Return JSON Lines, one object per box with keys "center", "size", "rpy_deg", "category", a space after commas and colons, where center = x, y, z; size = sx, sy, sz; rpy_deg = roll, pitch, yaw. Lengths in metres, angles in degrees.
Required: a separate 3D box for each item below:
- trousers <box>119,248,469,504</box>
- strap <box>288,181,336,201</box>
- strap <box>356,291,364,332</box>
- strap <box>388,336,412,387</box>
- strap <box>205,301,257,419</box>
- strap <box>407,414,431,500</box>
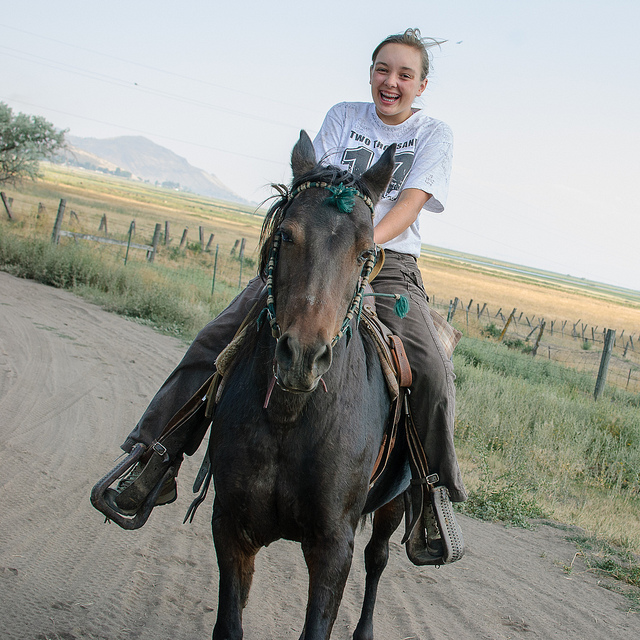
{"center": [0.123, 0.257, 3.488], "size": [1.743, 1.209, 2.059], "rpy_deg": [4, 2, 20], "category": "trousers"}
{"center": [-0.039, -0.605, 2.474], "size": [0.064, 0.105, 0.334], "rpy_deg": [5, 9, -39], "category": "strap"}
{"center": [0.207, -0.041, 2.758], "size": [0.016, 0.231, 0.023], "rpy_deg": [14, -27, 11], "category": "strap"}
{"center": [0.525, 0.275, 3.323], "size": [0.049, 0.261, 0.230], "rpy_deg": [-5, 7, -2], "category": "strap"}
{"center": [-0.560, 0.297, 3.159], "size": [0.257, 0.749, 0.331], "rpy_deg": [9, 19, 28], "category": "strap"}
{"center": [0.644, 0.882, 3.449], "size": [0.065, 0.714, 0.105], "rpy_deg": [-11, 12, -13], "category": "strap"}
